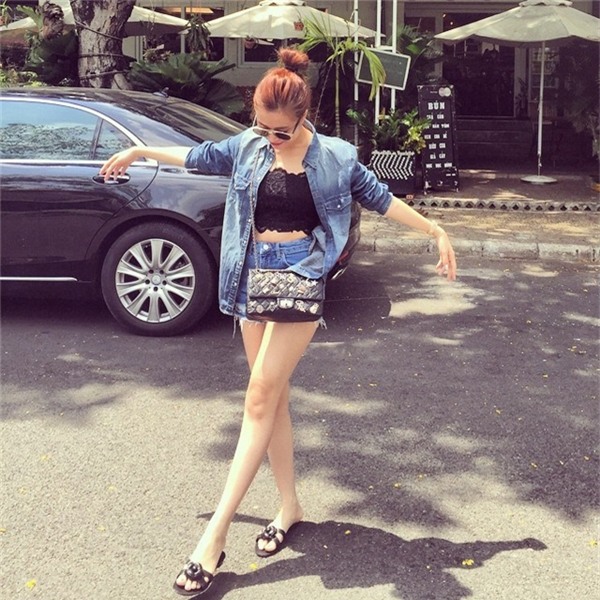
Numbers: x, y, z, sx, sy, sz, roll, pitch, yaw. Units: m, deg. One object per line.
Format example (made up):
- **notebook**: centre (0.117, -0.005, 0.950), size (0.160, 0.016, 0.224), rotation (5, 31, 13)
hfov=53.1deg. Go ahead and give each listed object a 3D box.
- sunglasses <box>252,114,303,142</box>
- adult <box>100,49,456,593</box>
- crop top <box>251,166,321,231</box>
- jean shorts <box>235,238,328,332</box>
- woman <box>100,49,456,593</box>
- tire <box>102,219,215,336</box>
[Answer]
- **sunglasses**: centre (-0.085, -0.524, 1.825), size (0.157, 0.073, 0.084), rotation (7, 13, 22)
- **adult**: centre (-0.076, 0.050, 2.217), size (0.983, 1.783, 0.748), rotation (-4, 14, -26)
- **crop top**: centre (-0.041, -0.352, 1.952), size (0.218, 0.240, 0.141), rotation (7, 21, 8)
- **jean shorts**: centre (-0.023, -0.087, 1.936), size (0.287, 0.258, 0.152), rotation (4, 21, 35)
- **woman**: centre (-0.070, 0.051, 2.214), size (0.982, 1.783, 0.748), rotation (-3, 13, -26)
- **tire**: centre (-1.155, -0.229, 4.885), size (1.042, 0.915, 0.322), rotation (2, 2, 4)
